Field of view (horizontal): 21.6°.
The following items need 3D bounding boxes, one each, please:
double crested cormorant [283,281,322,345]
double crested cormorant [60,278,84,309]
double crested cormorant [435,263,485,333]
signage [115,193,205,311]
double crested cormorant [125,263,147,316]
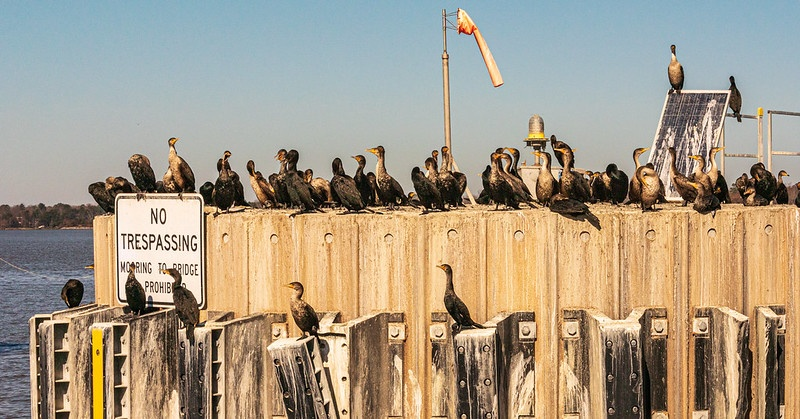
[{"bbox_3d":[-4.437,4.403,91.438,1.505,2.496,1.117,-2,-2,9],"label":"double crested cormorant"},{"bbox_3d":[-15.003,3.800,95.760,1.477,0.584,1.716,0,26,-4],"label":"double crested cormorant"},{"bbox_3d":[2.291,3.747,91.277,0.973,2.466,1.524,-2,-1,-42],"label":"double crested cormorant"},{"bbox_3d":[-10.779,1.838,92.890,5.061,4.874,0.387,1,3,30],"label":"signage"},{"bbox_3d":[-11.873,3.477,92.563,0.913,1.858,0.524,-3,-1,-4],"label":"double crested cormorant"}]
